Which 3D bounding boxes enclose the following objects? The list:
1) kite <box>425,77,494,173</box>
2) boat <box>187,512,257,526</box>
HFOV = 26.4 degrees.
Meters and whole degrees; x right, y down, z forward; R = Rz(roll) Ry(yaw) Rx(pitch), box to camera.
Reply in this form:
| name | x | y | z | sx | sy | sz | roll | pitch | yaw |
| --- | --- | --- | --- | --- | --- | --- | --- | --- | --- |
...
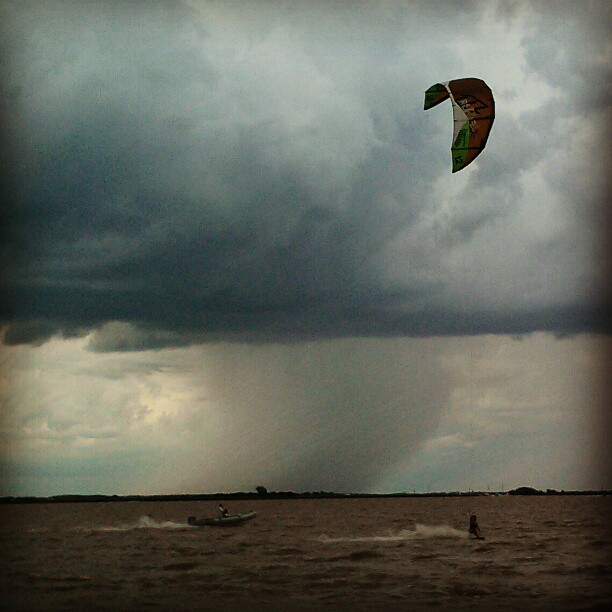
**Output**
| name | x | y | z | sx | sy | sz | roll | pitch | yaw |
| --- | --- | --- | --- | --- | --- | --- | --- | --- | --- |
| kite | 8.327 | -10.047 | 71.336 | 2.746 | 0.298 | 5.614 | -18 | -53 | 9 |
| boat | -6.284 | 16.164 | 98.433 | 1.812 | 0.781 | 6.328 | -5 | -8 | 35 |
